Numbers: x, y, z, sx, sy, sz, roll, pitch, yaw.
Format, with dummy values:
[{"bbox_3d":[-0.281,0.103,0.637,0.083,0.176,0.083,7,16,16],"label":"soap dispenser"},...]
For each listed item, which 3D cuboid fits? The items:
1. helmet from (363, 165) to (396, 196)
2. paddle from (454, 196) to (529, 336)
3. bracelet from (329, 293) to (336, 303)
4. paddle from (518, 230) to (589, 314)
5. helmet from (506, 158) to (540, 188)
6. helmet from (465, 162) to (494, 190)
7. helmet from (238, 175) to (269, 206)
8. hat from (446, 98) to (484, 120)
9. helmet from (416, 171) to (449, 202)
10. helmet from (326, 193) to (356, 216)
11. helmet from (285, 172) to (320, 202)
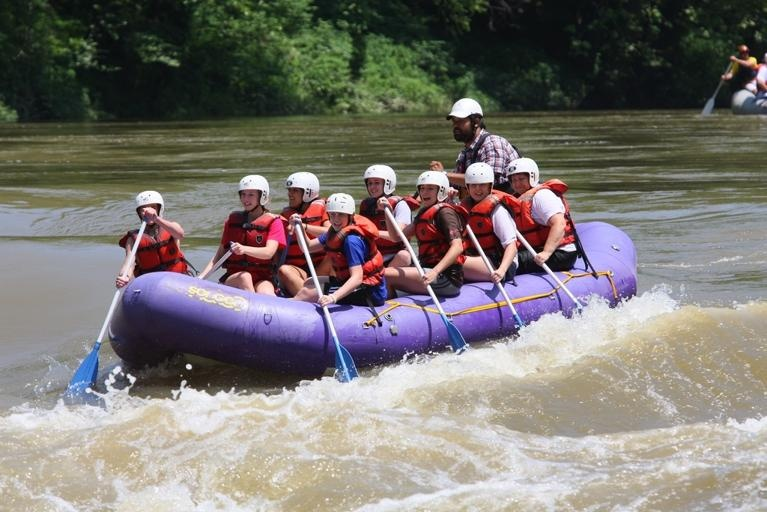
[{"bbox_3d":[-0.028,-1.018,13.113,0.383,0.352,0.485,-6,-5,44],"label":"helmet"},{"bbox_3d":[1.361,0.159,12.782,0.114,2.036,0.256,-6,-27,-50],"label":"paddle"},{"bbox_3d":[-0.593,0.492,11.824,0.037,0.099,0.086,-1,-2,43],"label":"bracelet"},{"bbox_3d":[2.216,0.223,13.109,0.115,1.393,0.204,-48,5,-21],"label":"paddle"},{"bbox_3d":[1.912,-1.135,13.510,0.350,0.356,0.453,-2,1,40],"label":"helmet"},{"bbox_3d":[1.249,-1.054,12.914,0.262,0.331,0.268,0,28,10],"label":"helmet"},{"bbox_3d":[-1.636,-0.843,12.665,0.368,0.333,0.438,-5,6,28],"label":"helmet"},{"bbox_3d":[1.230,-2.080,13.993,0.576,0.274,0.431,3,-3,-37],"label":"hat"},{"bbox_3d":[0.670,-0.892,12.736,0.346,0.326,0.439,-8,-6,40],"label":"helmet"},{"bbox_3d":[-0.501,-0.629,12.070,0.239,0.298,0.234,1,-2,21],"label":"helmet"},{"bbox_3d":[-1.026,-0.929,13.123,0.456,0.332,0.342,-2,3,-36],"label":"helmet"}]
